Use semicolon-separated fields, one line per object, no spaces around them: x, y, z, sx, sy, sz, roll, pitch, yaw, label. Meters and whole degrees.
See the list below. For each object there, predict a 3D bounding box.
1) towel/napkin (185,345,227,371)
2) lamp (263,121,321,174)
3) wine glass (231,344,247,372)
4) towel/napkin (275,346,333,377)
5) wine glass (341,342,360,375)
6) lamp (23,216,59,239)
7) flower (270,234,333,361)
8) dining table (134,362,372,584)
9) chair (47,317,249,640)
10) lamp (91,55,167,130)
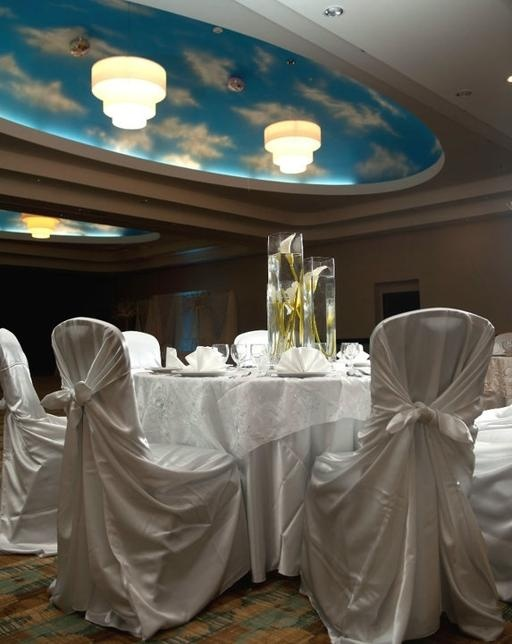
-0.194;0.145;1.908;0.095;0.070;0.107;0;-7;22;towel/napkin
0.342;-1.617;4.541;0.445;0.355;0.477;-1;-6;1;lamp
-0.072;0.138;2.020;0.079;0.135;0.077;-2;5;-7;wine glass
0.175;0.159;1.784;0.122;0.055;0.126;1;-20;-10;towel/napkin
0.385;0.146;2.051;0.103;0.174;0.096;-4;-2;11;wine glass
-2.854;-1.250;6.509;0.310;0.227;0.330;-2;4;10;lamp
0.214;-0.097;2.213;0.288;0.549;0.275;-2;2;-5;flower
0.018;0.464;1.810;0.687;0.586;0.727;-2;-3;42;dining table
-0.522;0.465;2.025;0.827;1.306;0.776;1;1;42;chair
-0.879;-1.560;3.387;0.461;0.354;0.489;0;-8;-9;lamp
